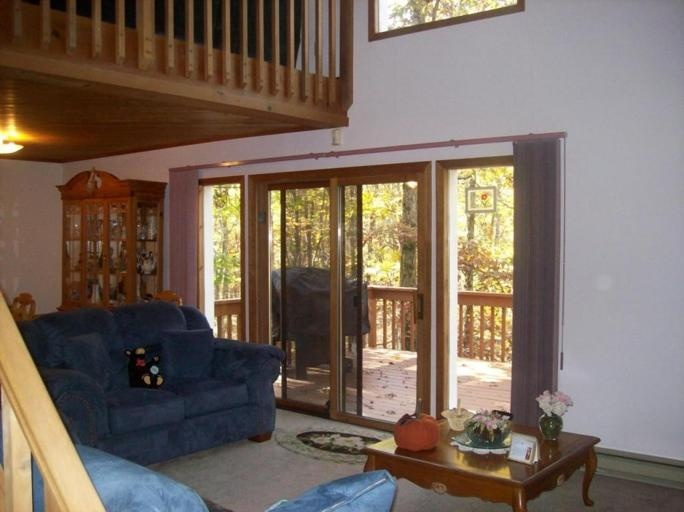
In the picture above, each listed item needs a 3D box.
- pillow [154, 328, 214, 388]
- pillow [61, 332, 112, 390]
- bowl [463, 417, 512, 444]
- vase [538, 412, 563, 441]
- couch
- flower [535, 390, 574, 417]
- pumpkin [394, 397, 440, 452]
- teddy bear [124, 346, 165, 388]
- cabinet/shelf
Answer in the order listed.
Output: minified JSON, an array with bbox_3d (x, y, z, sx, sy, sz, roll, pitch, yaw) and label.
[{"bbox_3d":[-1.352,0.879,4.954,0.394,0.393,0.138,4,-21,-28],"label":"pillow"},{"bbox_3d":[-1.896,0.773,4.360,0.139,0.398,0.387,-12,-15,24],"label":"pillow"},{"bbox_3d":[0.864,1.039,3.555,0.181,0.111,0.196,0,-1,0],"label":"bowl"},{"bbox_3d":[1.314,1.073,3.702,0.145,0.177,0.149,-5,-6,23],"label":"vase"},{"bbox_3d":[-1.505,0.999,4.718,1.747,1.133,0.962,-5,7,-43],"label":"couch"},{"bbox_3d":[1.373,0.965,3.822,0.189,0.201,0.216,3,6,27],"label":"flower"},{"bbox_3d":[0.477,1.014,3.678,0.279,0.368,0.284,-3,-4,36],"label":"pumpkin"},{"bbox_3d":[-1.675,0.903,4.814,0.186,0.313,0.263,19,-50,-28],"label":"teddy bear"},{"bbox_3d":[-2.719,-0.163,7.010,1.710,2.324,0.629,0,0,31],"label":"cabinet/shelf"}]
